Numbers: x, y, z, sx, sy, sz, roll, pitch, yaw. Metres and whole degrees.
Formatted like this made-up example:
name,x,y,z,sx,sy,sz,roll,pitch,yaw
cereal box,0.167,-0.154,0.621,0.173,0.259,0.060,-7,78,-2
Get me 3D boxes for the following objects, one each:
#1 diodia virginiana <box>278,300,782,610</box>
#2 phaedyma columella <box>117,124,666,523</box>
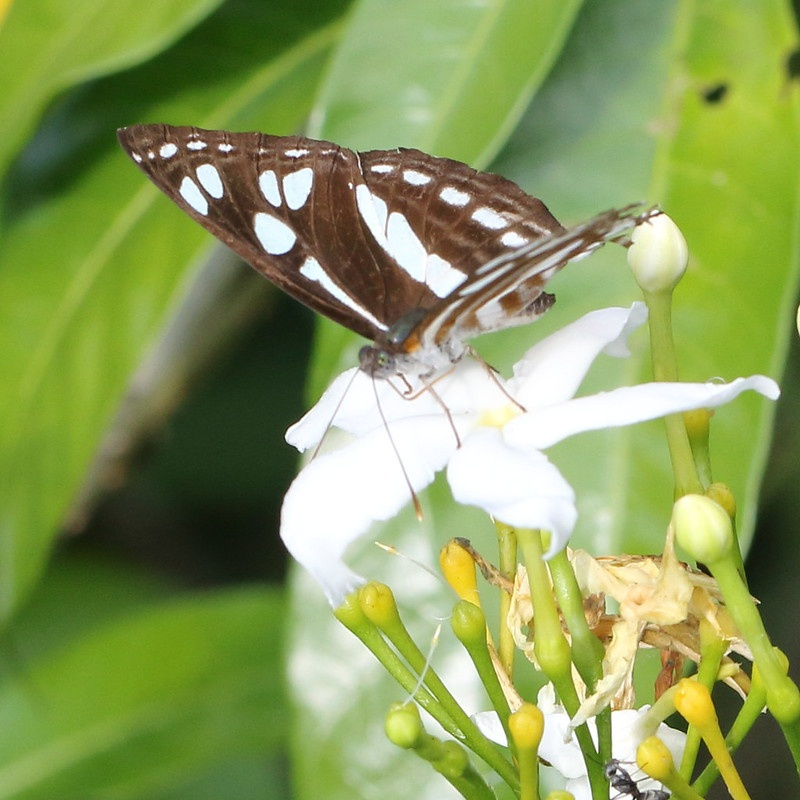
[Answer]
name,x,y,z,sx,sy,sz,roll,pitch,yaw
diodia virginiana,0.100,0.033,0.730,0.260,0.077,0.259,-44,34,-21
phaedyma columella,0.028,-0.066,0.898,0.306,0.404,0.211,-29,39,-23
